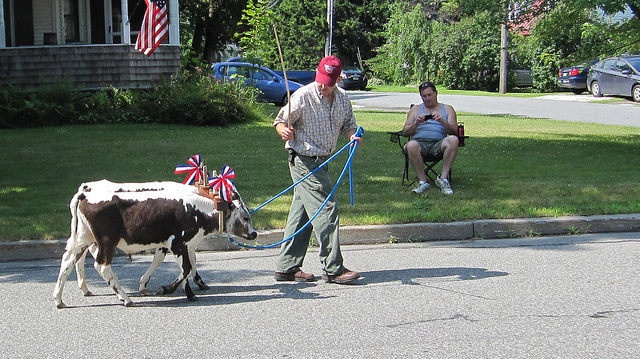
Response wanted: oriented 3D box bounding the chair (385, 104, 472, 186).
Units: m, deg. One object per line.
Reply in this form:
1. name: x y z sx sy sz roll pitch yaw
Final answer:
1. chair: 2.568 -0.676 21.221 1.308 3.062 1.845 1 1 40

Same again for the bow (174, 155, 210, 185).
1. bow: -2.511 -0.143 16.216 0.723 0.586 0.170 -4 -21 1
